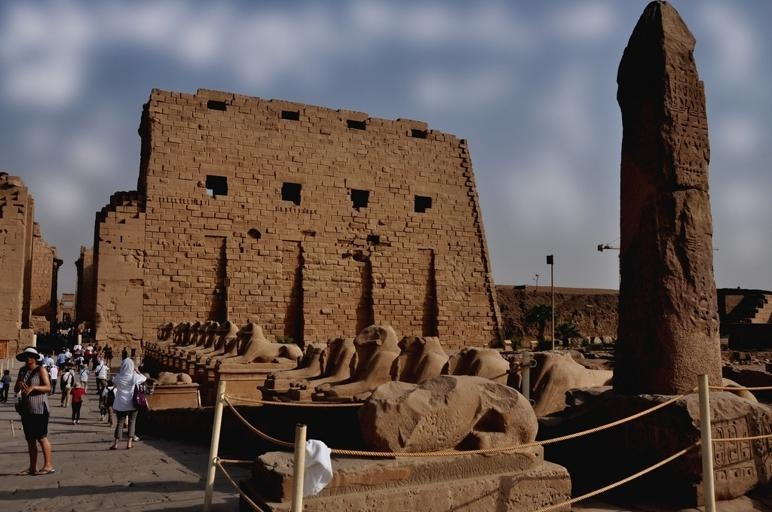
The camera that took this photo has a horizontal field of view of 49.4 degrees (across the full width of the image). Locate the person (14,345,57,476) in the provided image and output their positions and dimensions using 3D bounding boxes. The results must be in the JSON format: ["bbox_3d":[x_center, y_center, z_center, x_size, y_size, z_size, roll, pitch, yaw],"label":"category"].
[{"bbox_3d":[-4.710,2.057,11.196,0.559,1.618,0.769,4,-7,-23],"label":"person"}]

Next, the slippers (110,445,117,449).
[{"bbox_3d":[-4.029,2.807,12.326,0.106,0.074,0.180,3,-7,-17],"label":"slippers"}]

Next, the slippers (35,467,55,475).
[{"bbox_3d":[-4.454,2.817,10.970,0.148,0.070,0.273,-3,-8,34],"label":"slippers"}]
